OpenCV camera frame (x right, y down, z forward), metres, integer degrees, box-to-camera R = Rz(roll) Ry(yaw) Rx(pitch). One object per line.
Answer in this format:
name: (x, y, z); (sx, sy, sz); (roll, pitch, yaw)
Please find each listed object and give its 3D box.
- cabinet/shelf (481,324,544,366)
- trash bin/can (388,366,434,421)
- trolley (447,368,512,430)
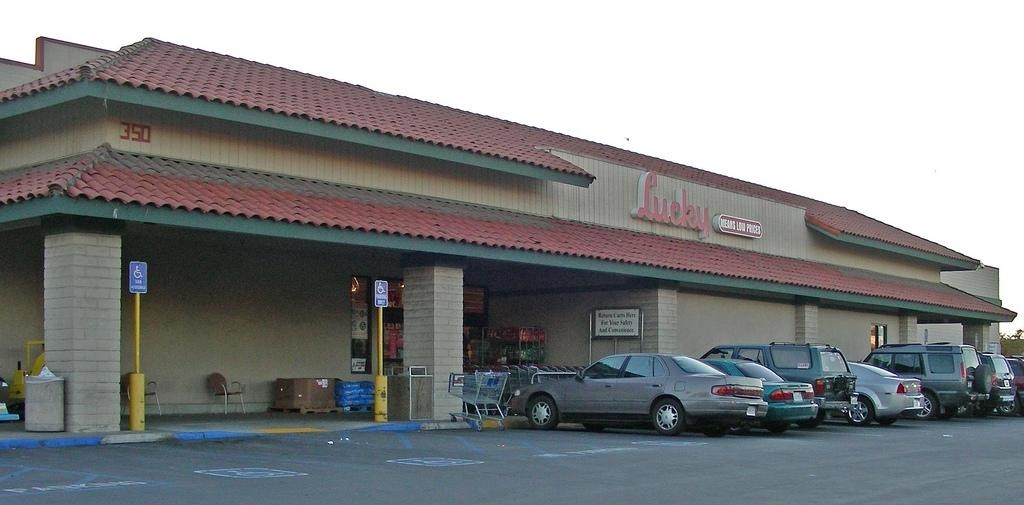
cabinet/shelf: (0.844, 4.536, 41.928); (3.408, 1.815, 1.841); (-4, -7, 38)
trash bin/can: (-3.875, 5.263, 32.629); (1.702, 1.949, 0.797); (-1, -15, -4)
trolley: (-1.284, 5.423, 32.051); (2.069, 2.035, 2.881); (-2, -13, -1)
